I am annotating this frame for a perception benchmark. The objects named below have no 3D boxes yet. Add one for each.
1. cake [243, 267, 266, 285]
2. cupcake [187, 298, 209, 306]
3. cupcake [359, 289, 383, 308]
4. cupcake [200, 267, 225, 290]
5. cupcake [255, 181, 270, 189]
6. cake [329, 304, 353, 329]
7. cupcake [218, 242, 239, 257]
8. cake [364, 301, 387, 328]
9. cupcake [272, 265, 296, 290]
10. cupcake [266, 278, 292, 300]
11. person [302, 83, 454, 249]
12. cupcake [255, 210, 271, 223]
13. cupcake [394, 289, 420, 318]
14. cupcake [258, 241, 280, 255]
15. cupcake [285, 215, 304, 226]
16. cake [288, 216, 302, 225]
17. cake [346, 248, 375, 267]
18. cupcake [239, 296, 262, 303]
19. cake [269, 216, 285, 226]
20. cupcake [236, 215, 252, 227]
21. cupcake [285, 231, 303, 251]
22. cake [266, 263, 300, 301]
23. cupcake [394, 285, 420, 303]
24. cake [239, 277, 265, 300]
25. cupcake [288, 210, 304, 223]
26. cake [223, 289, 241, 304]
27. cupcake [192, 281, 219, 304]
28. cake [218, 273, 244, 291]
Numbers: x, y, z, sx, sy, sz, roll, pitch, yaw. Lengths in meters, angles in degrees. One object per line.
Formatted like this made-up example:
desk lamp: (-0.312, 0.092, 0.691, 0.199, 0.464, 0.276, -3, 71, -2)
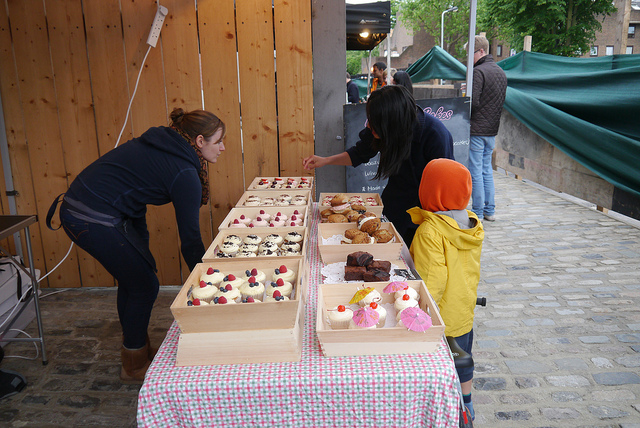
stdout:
cake: (-0.463, 0.440, 2.997, 0.121, 0.075, 0.116, 1, 2, -16)
cupcake: (-0.778, 0.545, 2.641, 0.075, 0.032, 0.080, 1, 6, 1)
cupcake: (0.343, 0.546, 2.818, 0.117, 0.099, 0.113, -5, 7, -40)
cupcake: (-0.741, 0.439, 2.937, 0.137, 0.086, 0.132, -1, 7, -38)
cupcake: (-0.640, -0.319, 4.657, 0.163, 0.047, 0.261, -1, 14, 6)
cake: (0.135, 0.654, 2.727, 0.151, 0.123, 0.147, 2, 3, -1)
cupcake: (-0.736, 0.285, 3.391, 0.113, 0.072, 0.111, 5, 1, 11)
cake: (0.368, 0.621, 2.715, 0.155, 0.141, 0.148, -3, 12, -14)
cupcake: (-0.245, 0.439, 2.955, 0.162, 0.151, 0.157, 2, 1, -2)
cupcake: (-0.269, 0.509, 2.880, 0.140, 0.080, 0.129, 3, 4, -8)
person: (0.645, -0.158, 4.082, 1.268, 2.020, 1.018, -2, 22, 17)
cupcake: (-0.535, 0.024, 3.940, 0.116, 0.077, 0.111, -1, 8, -5)
cupcake: (0.550, 0.571, 2.731, 0.137, 0.137, 0.131, -8, 12, -35)
cupcake: (-0.417, 0.276, 3.422, 0.107, 0.062, 0.108, 3, 0, 27)
cupcake: (-0.233, 0.058, 3.837, 0.117, 0.071, 0.112, 1, 5, -6)
cake: (-0.235, 0.055, 3.814, 0.080, 0.046, 0.077, 3, 4, -29)
cake: (0.305, 0.330, 3.148, 0.199, 0.088, 0.135, 1, 14, 12)
cupcake: (-0.452, 0.553, 2.738, 0.062, 0.023, 0.064, 3, 1, 33)
cake: (-0.401, 0.063, 3.852, 0.087, 0.055, 0.086, 3, 8, 19)
cupcake: (-0.702, 0.057, 3.903, 0.096, 0.060, 0.097, 8, 18, 30)
cupcake: (-0.215, 0.230, 3.535, 0.143, 0.116, 0.139, 3, 4, 0)
cake: (-0.252, 0.461, 2.900, 0.158, 0.112, 0.256, 6, 20, 5)
cupcake: (0.585, 0.521, 2.796, 0.110, 0.102, 0.105, 0, 0, -22)
cake: (-0.466, 0.499, 2.874, 0.146, 0.128, 0.142, 0, 2, 1)
cupcake: (-0.215, 0.016, 3.946, 0.110, 0.064, 0.106, -2, 7, -20)
cake: (-0.583, 0.548, 2.821, 0.087, 0.078, 0.084, 2, 1, -9)
cupcake: (-0.770, 0.520, 2.813, 0.138, 0.116, 0.134, 1, -3, 0)
cake: (-0.620, 0.462, 2.925, 0.112, 0.066, 0.114, 5, 1, 30)
